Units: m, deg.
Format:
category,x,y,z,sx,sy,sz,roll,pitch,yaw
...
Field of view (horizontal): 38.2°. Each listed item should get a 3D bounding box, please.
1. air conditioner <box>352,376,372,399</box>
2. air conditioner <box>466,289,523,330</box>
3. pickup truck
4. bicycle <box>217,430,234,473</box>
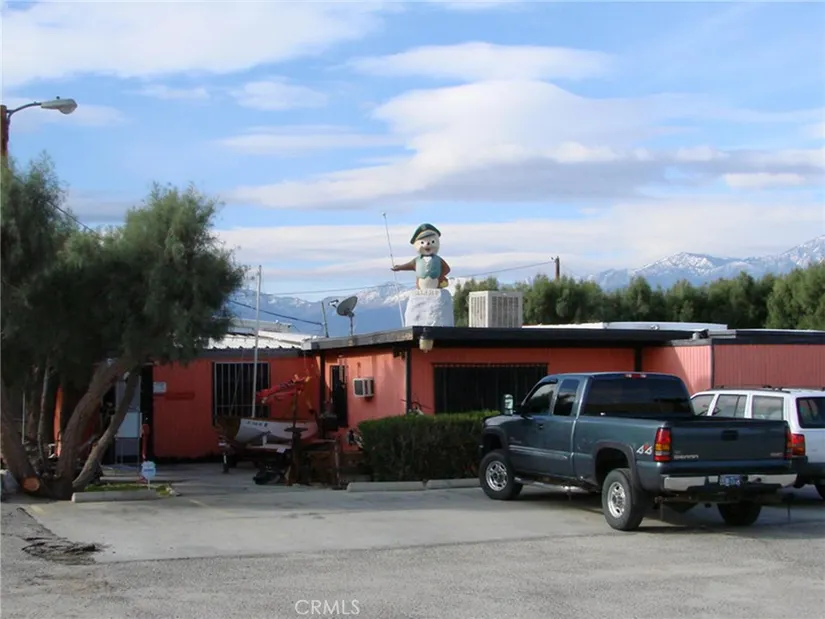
category,x,y,z,sx,sy,sz,roll,pitch,yaw
air conditioner,-1.201,2.032,29.314,0.392,0.550,0.745,1,-4,-20
air conditioner,2.243,0.041,32.277,1.105,1.174,1.138,1,-5,-14
pickup truck,3.440,2.361,20.883,2.366,1.858,4.960,4,-2,-26
bicycle,-4.746,3.703,30.521,0.362,1.046,1.649,-1,3,-9
